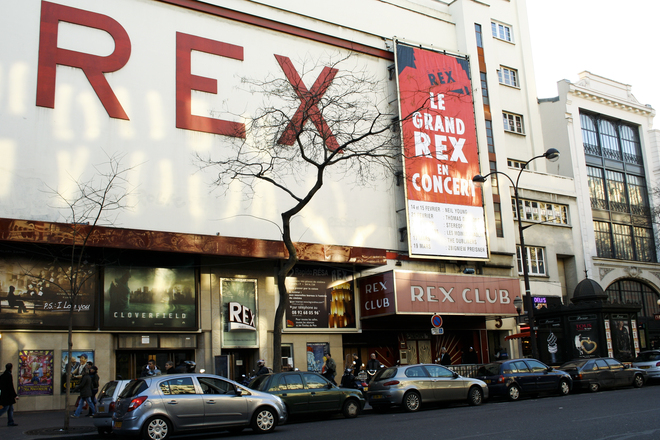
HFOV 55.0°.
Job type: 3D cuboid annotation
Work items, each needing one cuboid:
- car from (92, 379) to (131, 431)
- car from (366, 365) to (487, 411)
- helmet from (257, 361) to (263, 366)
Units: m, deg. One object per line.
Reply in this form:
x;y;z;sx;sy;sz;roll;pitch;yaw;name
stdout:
-8.533;7.027;24.349;1.364;1.238;2.368;0;-5;1;car
4.203;7.435;28.512;4.848;2.029;1.158;4;-16;-24;car
-3.255;6.597;29.481;0.256;0.149;0.267;-6;-18;30;helmet
